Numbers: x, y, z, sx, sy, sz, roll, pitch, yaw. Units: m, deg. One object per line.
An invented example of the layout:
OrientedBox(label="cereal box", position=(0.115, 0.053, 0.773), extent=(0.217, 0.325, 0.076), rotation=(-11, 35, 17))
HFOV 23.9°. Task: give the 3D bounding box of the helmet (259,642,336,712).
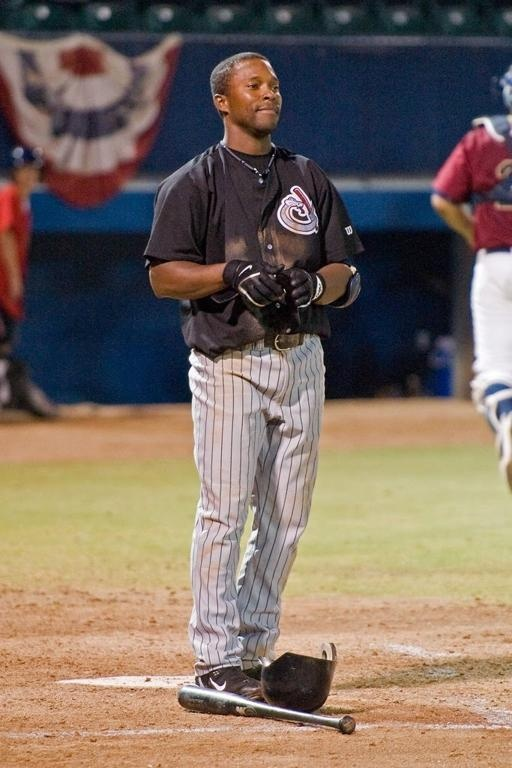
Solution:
OrientedBox(label="helmet", position=(0.115, 0.802, 3.302), extent=(0.176, 0.157, 0.227), rotation=(-14, -15, 37))

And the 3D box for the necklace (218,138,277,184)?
OrientedBox(label="necklace", position=(-0.008, -0.667, 3.622), extent=(0.147, 0.040, 0.153), rotation=(41, 3, 17))

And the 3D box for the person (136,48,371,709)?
OrientedBox(label="person", position=(-0.056, -0.060, 3.594), extent=(0.550, 1.855, 0.610), rotation=(4, 8, 18))

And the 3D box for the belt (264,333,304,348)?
OrientedBox(label="belt", position=(0.086, -0.118, 3.529), extent=(0.130, 0.051, 0.040), rotation=(-3, 8, -39))

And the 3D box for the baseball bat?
OrientedBox(label="baseball bat", position=(0.014, 0.893, 3.313), extent=(0.548, 0.070, 0.073), rotation=(2, -35, 31))

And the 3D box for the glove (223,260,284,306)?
OrientedBox(label="glove", position=(-0.007, -0.279, 3.369), extent=(0.089, 0.082, 0.134), rotation=(-31, 39, -32))
